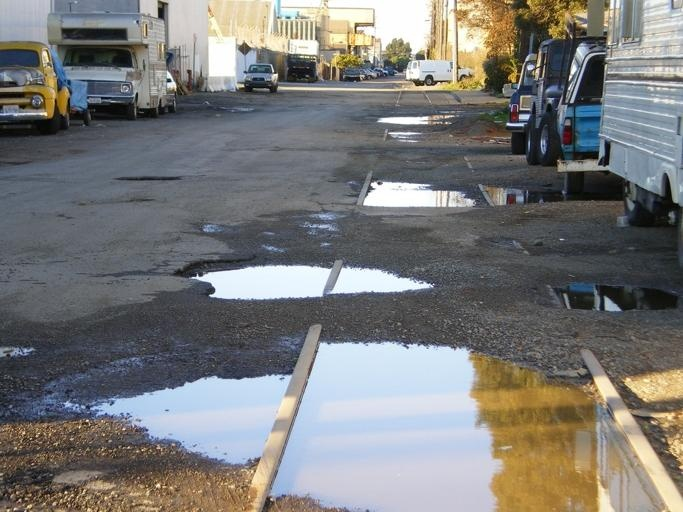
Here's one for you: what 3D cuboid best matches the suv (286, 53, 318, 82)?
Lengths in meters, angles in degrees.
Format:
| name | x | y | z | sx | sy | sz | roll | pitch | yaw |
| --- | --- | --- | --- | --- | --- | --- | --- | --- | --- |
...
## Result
| name | x | y | z | sx | sy | sz | roll | pitch | yaw |
| --- | --- | --- | --- | --- | --- | --- | --- | --- | --- |
| suv | -6.292 | -30.049 | 85.762 | 4.461 | 3.882 | 2.226 | 1 | 11 | 4 |

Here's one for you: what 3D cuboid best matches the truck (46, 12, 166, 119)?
| name | x | y | z | sx | sy | sz | roll | pitch | yaw |
| --- | --- | --- | --- | --- | --- | --- | --- | --- | --- |
| truck | -10.756 | -9.141 | 25.606 | 4.987 | 5.022 | 3.073 | -5 | 12 | -30 |

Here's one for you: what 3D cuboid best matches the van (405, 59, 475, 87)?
| name | x | y | z | sx | sy | sz | roll | pitch | yaw |
| --- | --- | --- | --- | --- | --- | --- | --- | --- | --- |
| van | 14.219 | -25.715 | 73.887 | 9.653 | 2.773 | 4.355 | -1 | 10 | -1 |
